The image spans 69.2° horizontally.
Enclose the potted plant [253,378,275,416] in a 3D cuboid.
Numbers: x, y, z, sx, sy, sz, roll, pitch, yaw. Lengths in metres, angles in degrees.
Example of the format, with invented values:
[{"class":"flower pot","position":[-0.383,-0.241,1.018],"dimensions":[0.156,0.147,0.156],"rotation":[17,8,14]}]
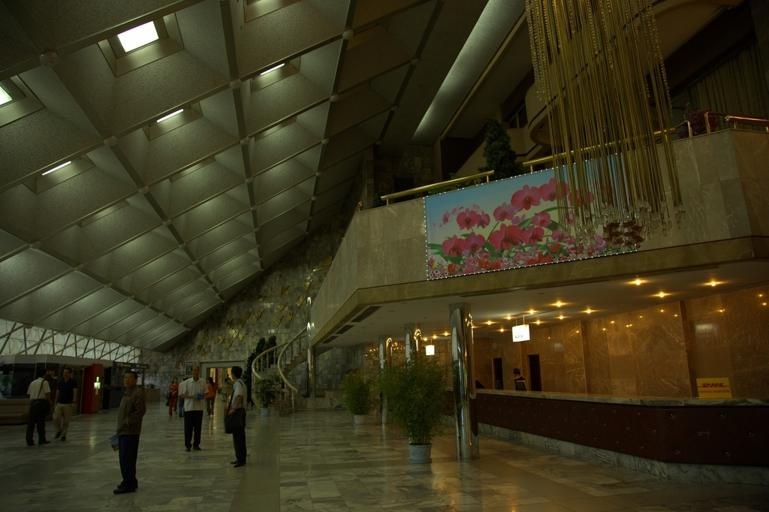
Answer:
[{"class":"potted plant","position":[-5.709,6.850,27.141],"dimensions":[0.776,1.742,1.318],"rotation":[4,-18,-21]}]

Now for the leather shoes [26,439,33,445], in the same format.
[{"class":"leather shoes","position":[-11.129,5.879,17.613],"dimensions":[0.203,0.168,0.447],"rotation":[9,-21,-34]}]

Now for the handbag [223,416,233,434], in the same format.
[{"class":"handbag","position":[-3.925,4.212,14.100],"dimensions":[0.158,0.421,0.347],"rotation":[2,-17,-14]}]

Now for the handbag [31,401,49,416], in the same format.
[{"class":"handbag","position":[-10.999,4.844,17.834],"dimensions":[0.468,0.717,0.381],"rotation":[2,-4,-38]}]

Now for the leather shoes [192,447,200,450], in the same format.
[{"class":"leather shoes","position":[-5.534,5.695,16.530],"dimensions":[0.102,0.106,0.133],"rotation":[-3,-29,1]}]

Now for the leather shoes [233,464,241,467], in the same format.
[{"class":"leather shoes","position":[-3.769,5.347,14.291],"dimensions":[0.165,0.116,0.059],"rotation":[-1,-9,19]}]

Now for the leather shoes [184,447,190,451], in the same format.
[{"class":"leather shoes","position":[-5.756,5.662,16.375],"dimensions":[0.127,0.131,0.131],"rotation":[4,-19,-24]}]

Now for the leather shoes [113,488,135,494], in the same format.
[{"class":"leather shoes","position":[-5.655,5.104,12.158],"dimensions":[0.429,0.117,0.199],"rotation":[4,-18,-21]}]
